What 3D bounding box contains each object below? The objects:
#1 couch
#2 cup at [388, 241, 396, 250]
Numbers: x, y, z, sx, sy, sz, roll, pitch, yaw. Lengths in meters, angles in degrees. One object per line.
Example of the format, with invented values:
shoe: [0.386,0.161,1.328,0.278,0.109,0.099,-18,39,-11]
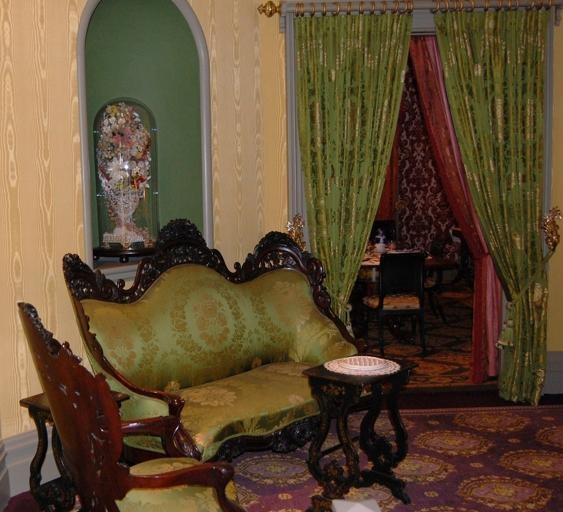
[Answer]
couch: [-0.253,0.431,3.199,1.614,1.138,0.880,-8,5,-44]
cup: [1.203,-0.114,6.492,0.076,0.120,0.075,4,8,-1]
